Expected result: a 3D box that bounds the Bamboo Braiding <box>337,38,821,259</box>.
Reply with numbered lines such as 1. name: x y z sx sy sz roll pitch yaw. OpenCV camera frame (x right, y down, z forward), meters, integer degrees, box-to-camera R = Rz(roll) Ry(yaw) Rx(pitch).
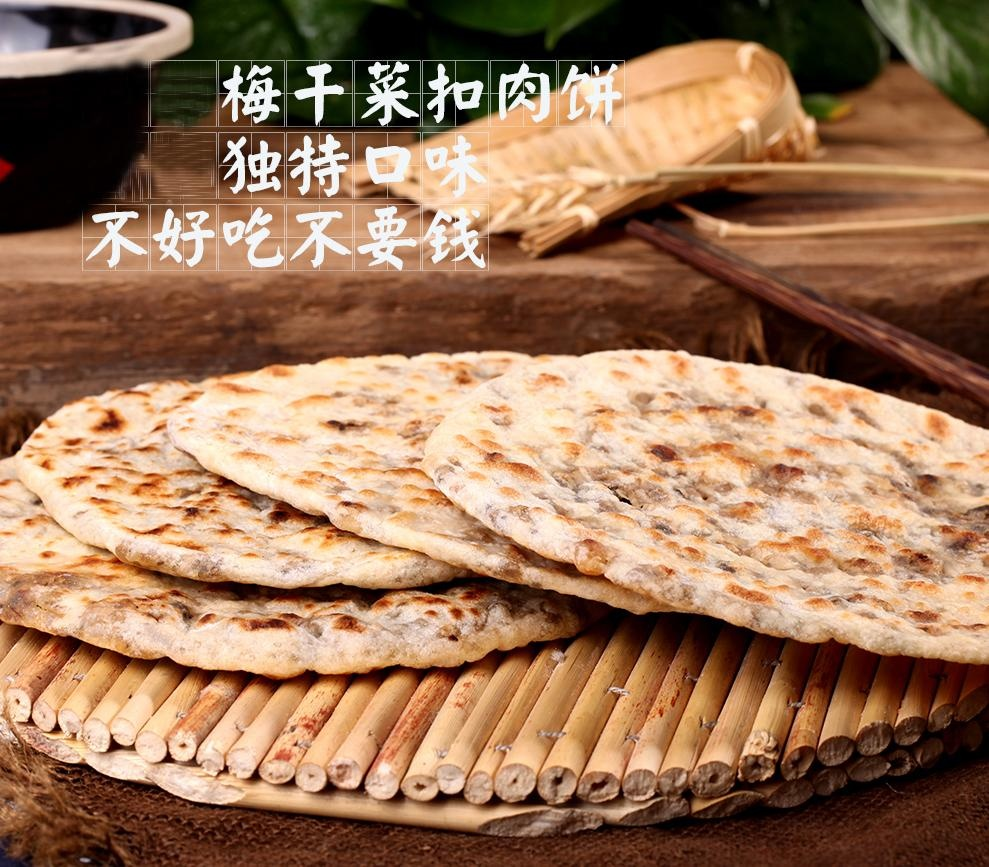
1. Bamboo Braiding: 0.268 -0.651 2.576 1.139 0.191 0.555 -13 37 -17
